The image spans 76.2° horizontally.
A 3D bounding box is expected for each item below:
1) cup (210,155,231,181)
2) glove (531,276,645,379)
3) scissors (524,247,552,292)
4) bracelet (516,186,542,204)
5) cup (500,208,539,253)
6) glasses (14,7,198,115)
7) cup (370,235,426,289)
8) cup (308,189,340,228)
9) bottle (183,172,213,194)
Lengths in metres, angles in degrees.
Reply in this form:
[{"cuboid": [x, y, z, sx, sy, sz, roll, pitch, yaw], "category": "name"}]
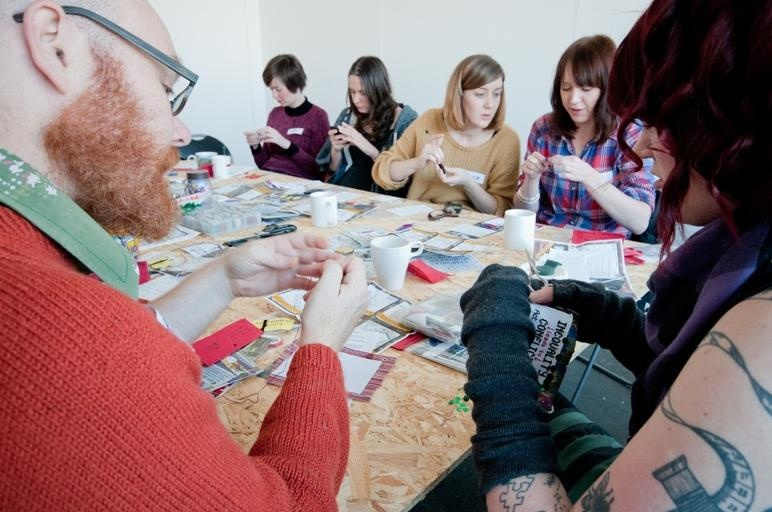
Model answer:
[{"cuboid": [-1.005, -0.555, 3.067, 0.107, 0.139, 0.163, 7, 11, 19], "category": "cup"}, {"cuboid": [0.538, 0.156, 1.240, 0.258, 0.100, 0.254, 29, 27, 8], "category": "glove"}, {"cuboid": [0.454, 0.040, 1.457, 0.060, 0.099, 0.024, -24, -6, -43], "category": "scissors"}, {"cuboid": [0.739, -0.306, 2.551, 0.090, 0.020, 0.086, -13, 36, -4], "category": "bracelet"}, {"cuboid": [0.479, -0.097, 1.798, 0.119, 0.132, 0.152, -10, 19, -21], "category": "cup"}, {"cuboid": [-0.514, -0.357, 0.931, 0.164, 0.045, 0.167, 36, -2, -19], "category": "glasses"}, {"cuboid": [0.021, 0.012, 1.536, 0.176, 0.117, 0.117, -13, 22, -40], "category": "cup"}, {"cuboid": [-0.262, -0.198, 2.054, 0.100, 0.112, 0.156, -2, 28, -11], "category": "cup"}, {"cuboid": [-0.867, -0.349, 2.286, 0.113, 0.099, 0.109, -1, 22, -8], "category": "bottle"}]
